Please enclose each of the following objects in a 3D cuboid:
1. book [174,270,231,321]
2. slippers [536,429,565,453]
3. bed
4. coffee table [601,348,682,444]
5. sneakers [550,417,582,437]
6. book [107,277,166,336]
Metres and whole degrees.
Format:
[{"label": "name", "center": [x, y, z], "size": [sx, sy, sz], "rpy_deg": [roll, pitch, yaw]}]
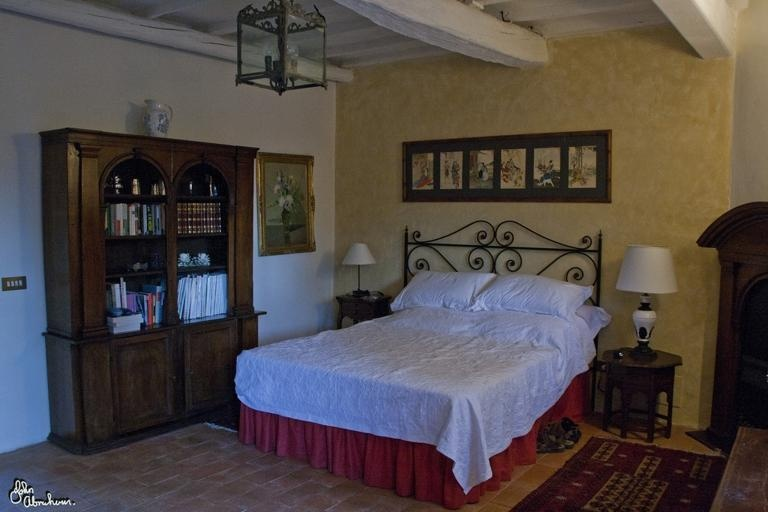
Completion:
[{"label": "book", "center": [-1.930, 0.411, 6.403], "size": [0.224, 0.487, 0.546], "rpy_deg": [2, 2, 45]}, {"label": "slippers", "center": [1.565, 1.696, 5.677], "size": [0.193, 0.094, 0.256], "rpy_deg": [-6, 4, -43]}, {"label": "bed", "center": [0.393, 1.023, 5.945], "size": [2.482, 1.354, 2.700], "rpy_deg": [10, 17, 38]}, {"label": "coffee table", "center": [2.562, 1.409, 5.925], "size": [0.593, 0.597, 0.579], "rpy_deg": [-8, -15, 24]}, {"label": "sneakers", "center": [1.747, 1.623, 5.766], "size": [0.144, 0.119, 0.263], "rpy_deg": [-4, 7, -23]}, {"label": "book", "center": [-2.467, 0.458, 6.106], "size": [0.456, 0.643, 0.660], "rpy_deg": [1, 1, 38]}]
